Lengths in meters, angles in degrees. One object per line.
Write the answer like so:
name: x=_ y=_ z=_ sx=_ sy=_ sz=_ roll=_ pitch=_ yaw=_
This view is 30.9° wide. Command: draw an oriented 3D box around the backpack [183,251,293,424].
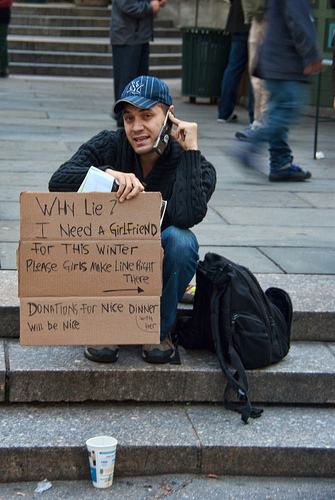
backpack: x=0.284 y=0.400 z=2.566 sx=0.307 sy=0.376 sz=0.566 roll=-19 pitch=26 yaw=-6

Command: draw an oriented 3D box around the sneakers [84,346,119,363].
sneakers: x=-0.274 y=0.432 z=2.529 sx=0.116 sy=0.072 sz=0.068 roll=2 pitch=-3 yaw=-3

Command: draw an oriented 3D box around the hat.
hat: x=-0.107 y=-0.665 z=2.643 sx=0.168 sy=0.116 sz=0.236 roll=-3 pitch=-2 yaw=35

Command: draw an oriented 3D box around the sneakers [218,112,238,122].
sneakers: x=0.868 y=-1.911 z=8.712 sx=0.125 sy=0.132 sz=0.335 roll=13 pitch=15 yaw=33

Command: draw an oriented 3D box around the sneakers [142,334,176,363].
sneakers: x=-0.042 y=0.412 z=2.531 sx=0.130 sy=0.106 sz=0.246 roll=0 pitch=-9 yaw=2

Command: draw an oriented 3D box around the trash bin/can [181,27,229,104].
trash bin/can: x=0.608 y=-3.012 z=9.731 sx=1.069 sy=1.167 sz=0.926 roll=5 pitch=26 yaw=4

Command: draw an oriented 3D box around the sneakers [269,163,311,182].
sneakers: x=1.123 y=-0.728 z=5.614 sx=0.452 sy=0.191 sz=0.145 roll=0 pitch=7 yaw=-5

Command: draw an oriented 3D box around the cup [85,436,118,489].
cup: x=-0.235 y=0.736 z=2.133 sx=0.105 sy=0.215 sz=0.158 roll=2 pitch=18 yaw=-6
